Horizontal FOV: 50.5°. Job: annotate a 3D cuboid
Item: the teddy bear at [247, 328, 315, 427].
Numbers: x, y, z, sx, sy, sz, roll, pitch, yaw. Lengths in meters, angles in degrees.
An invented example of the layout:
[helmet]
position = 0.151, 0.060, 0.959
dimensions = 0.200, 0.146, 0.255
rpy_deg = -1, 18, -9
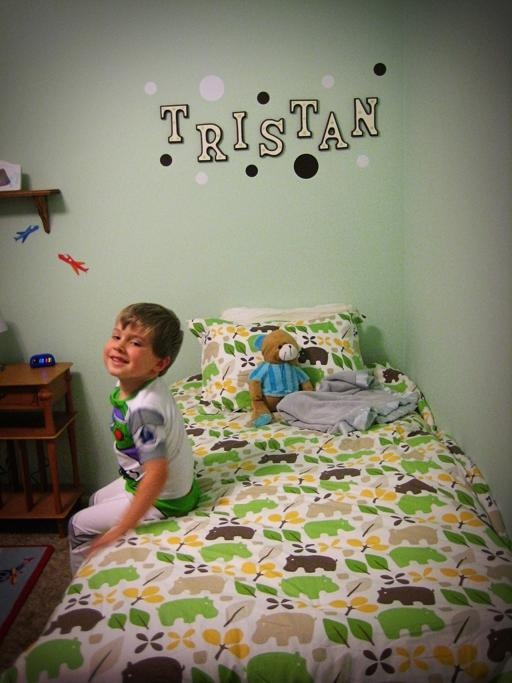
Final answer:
[teddy bear]
position = 0.093, 0.125, 2.099
dimensions = 0.295, 0.340, 0.244
rpy_deg = -6, 13, -26
